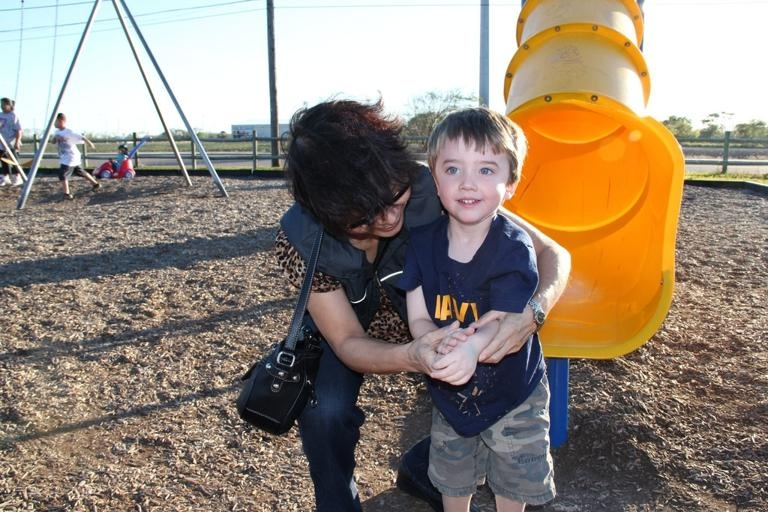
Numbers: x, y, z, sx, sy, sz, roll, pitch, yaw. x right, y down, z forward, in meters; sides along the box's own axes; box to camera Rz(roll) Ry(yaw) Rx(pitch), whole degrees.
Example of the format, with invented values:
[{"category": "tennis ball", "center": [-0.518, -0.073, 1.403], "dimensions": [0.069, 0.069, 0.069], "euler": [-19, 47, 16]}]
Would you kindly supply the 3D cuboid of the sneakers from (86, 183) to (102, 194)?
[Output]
[{"category": "sneakers", "center": [-4.450, -1.016, 9.815], "dimensions": [0.142, 0.124, 0.326], "euler": [16, 1, -22]}]
